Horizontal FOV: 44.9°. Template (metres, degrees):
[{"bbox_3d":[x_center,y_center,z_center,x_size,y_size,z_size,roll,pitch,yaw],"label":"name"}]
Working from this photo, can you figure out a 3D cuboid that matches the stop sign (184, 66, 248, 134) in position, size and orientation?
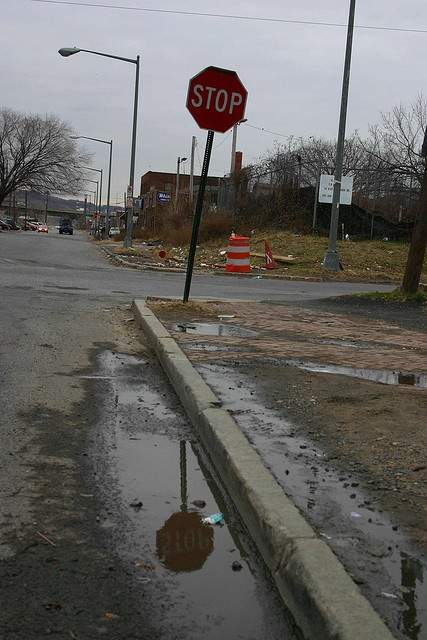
[{"bbox_3d":[0.048,-3.009,7.044,0.807,0.877,0.036,10,45,-3],"label":"stop sign"}]

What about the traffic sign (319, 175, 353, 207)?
[{"bbox_3d":[6.230,-6.757,26.466,1.669,1.596,2.799,1,6,12],"label":"traffic sign"}]
